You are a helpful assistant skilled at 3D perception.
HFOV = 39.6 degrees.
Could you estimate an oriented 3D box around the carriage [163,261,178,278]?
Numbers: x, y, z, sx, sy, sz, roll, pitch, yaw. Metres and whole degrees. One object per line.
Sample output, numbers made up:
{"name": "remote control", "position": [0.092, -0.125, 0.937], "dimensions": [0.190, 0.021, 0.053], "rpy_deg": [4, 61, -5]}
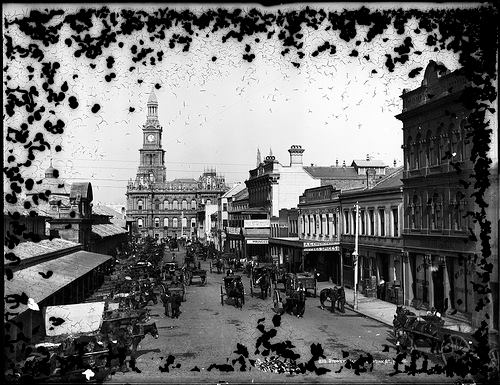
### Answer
{"name": "carriage", "position": [-5.261, 5.108, 45.505], "dimensions": [0.859, 1.169, 1.141], "rpy_deg": [0, 5, -4]}

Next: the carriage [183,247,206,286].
{"name": "carriage", "position": [-4.029, 5.511, 46.947], "dimensions": [1.259, 2.284, 4.204], "rpy_deg": [1, 7, -8]}

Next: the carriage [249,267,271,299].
{"name": "carriage", "position": [0.573, 5.314, 40.304], "dimensions": [0.820, 1.325, 2.693], "rpy_deg": [0, -8, -5]}

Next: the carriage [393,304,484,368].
{"name": "carriage", "position": [6.026, 4.913, 23.559], "dimensions": [1.397, 1.594, 4.054], "rpy_deg": [4, -1, -13]}

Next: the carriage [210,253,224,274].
{"name": "carriage", "position": [-2.823, 6.026, 58.470], "dimensions": [1.106, 2.370, 0.860], "rpy_deg": [4, -47, -9]}
